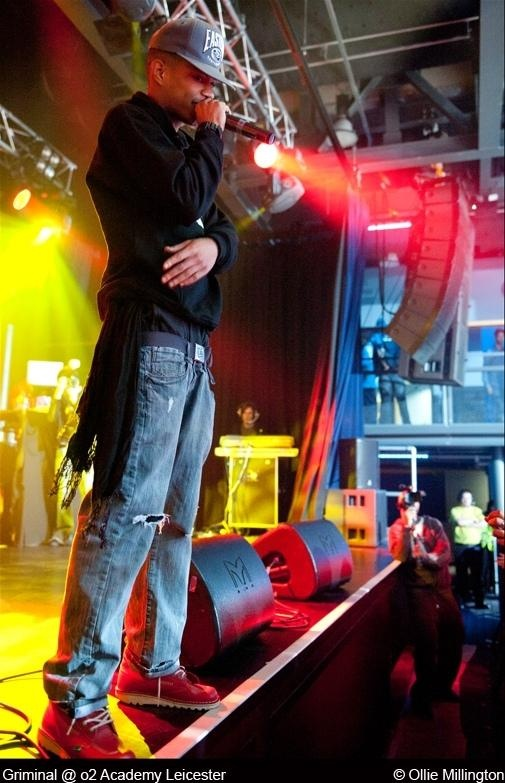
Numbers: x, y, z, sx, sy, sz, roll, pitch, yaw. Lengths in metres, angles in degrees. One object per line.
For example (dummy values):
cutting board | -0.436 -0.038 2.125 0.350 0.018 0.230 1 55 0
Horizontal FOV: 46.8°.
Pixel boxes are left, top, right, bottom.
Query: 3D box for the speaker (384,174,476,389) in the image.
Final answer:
speaker | 1.487 -0.962 4.739 0.527 1.732 0.695 -2 -5 42

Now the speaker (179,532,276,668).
speaker | -0.107 0.591 1.651 0.246 0.292 0.334 -15 -14 31

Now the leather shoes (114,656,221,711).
leather shoes | -0.174 0.596 1.199 0.224 0.105 0.085 8 -2 1

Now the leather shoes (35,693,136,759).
leather shoes | -0.281 0.554 0.958 0.189 0.080 0.062 2 -11 32

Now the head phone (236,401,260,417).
head phone | -0.050 0.173 5.950 0.141 0.166 0.189 2 -10 -2

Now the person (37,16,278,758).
person | -0.193 -0.049 1.131 0.299 1.402 0.383 2 -4 2

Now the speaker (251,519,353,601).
speaker | 0.206 0.732 2.569 0.410 0.298 0.442 4 -7 34

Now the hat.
hat | -0.116 -0.647 1.161 0.181 0.093 0.119 30 27 8

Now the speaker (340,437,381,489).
speaker | 0.899 0.615 4.924 0.363 0.404 0.375 -1 -6 6
